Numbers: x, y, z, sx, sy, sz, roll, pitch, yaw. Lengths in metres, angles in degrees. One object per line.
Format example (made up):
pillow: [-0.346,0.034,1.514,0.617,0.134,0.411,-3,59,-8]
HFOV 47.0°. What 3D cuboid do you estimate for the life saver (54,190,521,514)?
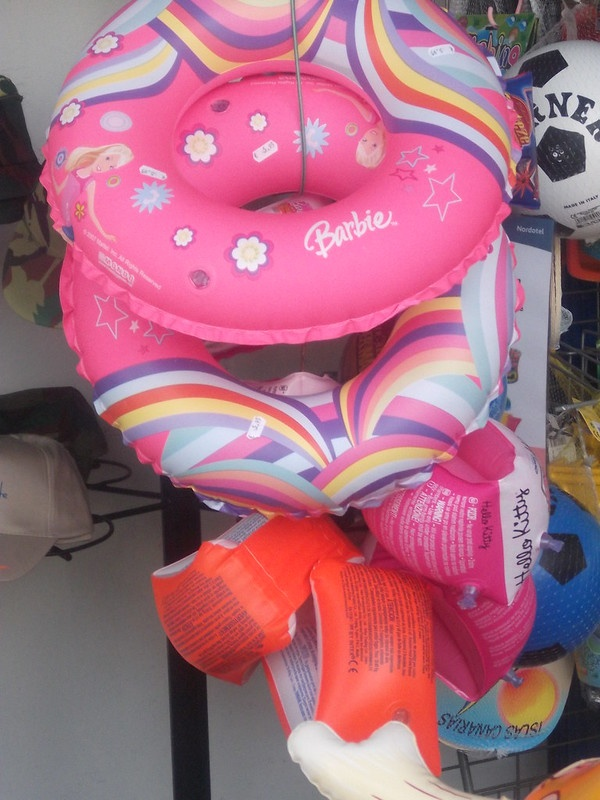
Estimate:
life saver: [0.015,-0.101,1.150,0.643,0.163,0.605,-4,57,17]

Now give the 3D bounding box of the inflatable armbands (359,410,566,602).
inflatable armbands: [0.292,0.199,1.235,0.305,0.137,0.300,43,101,6]

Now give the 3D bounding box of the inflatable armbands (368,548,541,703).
inflatable armbands: [0.290,0.411,1.256,0.303,0.100,0.312,45,17,-6]

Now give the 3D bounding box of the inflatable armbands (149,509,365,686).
inflatable armbands: [-0.082,0.297,1.149,0.338,0.096,0.234,-39,94,-38]

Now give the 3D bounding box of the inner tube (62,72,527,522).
inner tube: [0.027,-0.107,0.949,0.762,0.685,0.171,-6,72,-23]

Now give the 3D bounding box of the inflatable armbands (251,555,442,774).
inflatable armbands: [0.031,0.397,1.140,0.376,0.165,0.320,13,65,-33]
